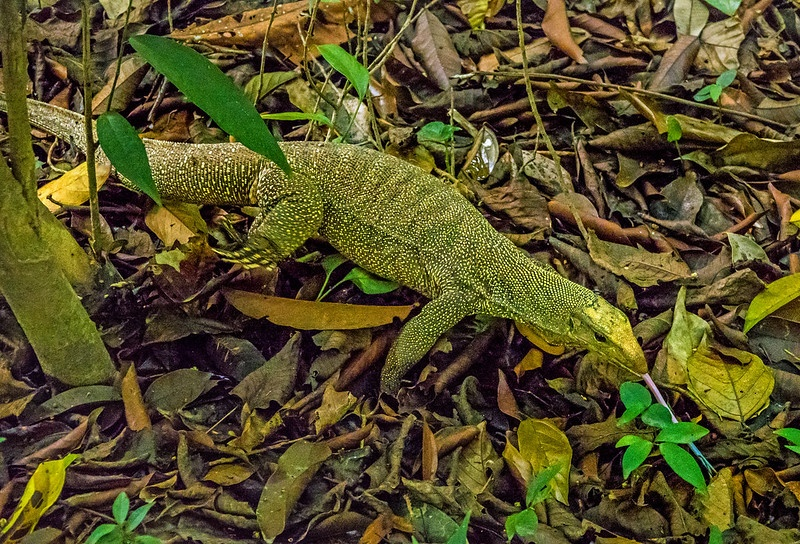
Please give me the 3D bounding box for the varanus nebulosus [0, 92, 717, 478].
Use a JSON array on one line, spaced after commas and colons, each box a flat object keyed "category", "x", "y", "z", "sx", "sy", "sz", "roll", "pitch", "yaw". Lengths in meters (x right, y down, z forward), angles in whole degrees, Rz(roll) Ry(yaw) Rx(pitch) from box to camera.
[{"category": "varanus nebulosus", "x": -0.070, "y": -0.193, "z": 6.185, "sx": 3.761, "sy": 0.794, "sz": 1.302, "roll": 26, "pitch": 80, "yaw": 1}]
